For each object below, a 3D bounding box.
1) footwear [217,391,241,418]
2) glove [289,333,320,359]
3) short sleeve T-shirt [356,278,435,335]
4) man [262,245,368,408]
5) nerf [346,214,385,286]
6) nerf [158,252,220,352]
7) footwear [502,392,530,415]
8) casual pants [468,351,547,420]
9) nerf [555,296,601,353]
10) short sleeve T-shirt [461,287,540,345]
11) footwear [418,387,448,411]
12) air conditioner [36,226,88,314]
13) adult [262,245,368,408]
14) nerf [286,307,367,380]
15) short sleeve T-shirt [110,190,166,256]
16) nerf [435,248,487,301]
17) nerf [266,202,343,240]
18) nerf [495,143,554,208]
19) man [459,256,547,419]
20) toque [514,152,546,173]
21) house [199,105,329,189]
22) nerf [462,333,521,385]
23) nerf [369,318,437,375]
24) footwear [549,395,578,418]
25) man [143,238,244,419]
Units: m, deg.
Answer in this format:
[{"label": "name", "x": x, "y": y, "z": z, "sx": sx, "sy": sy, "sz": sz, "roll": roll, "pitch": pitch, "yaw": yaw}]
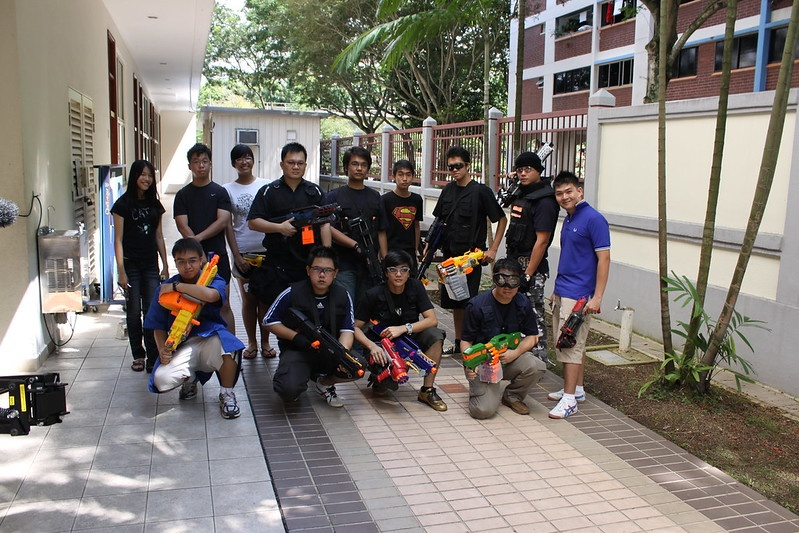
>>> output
[{"label": "footwear", "x": -1.569, "y": 1.286, "z": 4.784, "sx": 0.122, "sy": 0.144, "sz": 0.326, "roll": -2, "pitch": 0, "yaw": -21}, {"label": "glove", "x": -0.880, "y": 0.712, "z": 4.898, "sx": 0.281, "sy": 0.201, "sz": 0.121, "roll": 27, "pitch": 29, "yaw": 9}, {"label": "short sleeve T-shirt", "x": -0.051, "y": 0.392, "z": 5.280, "sx": 0.955, "sy": 0.646, "sz": 0.510, "roll": 0, "pitch": 5, "yaw": -10}, {"label": "man", "x": -0.762, "y": 0.589, "z": 4.906, "sx": 1.096, "sy": 1.437, "sz": 0.954, "roll": 7, "pitch": 8, "yaw": 21}, {"label": "nerf", "x": -0.397, "y": -0.270, "z": 5.870, "sx": 0.472, "sy": 1.067, "sz": 0.246, "roll": -7, "pitch": -11, "yaw": -9}, {"label": "nerf", "x": -1.936, "y": 0.313, "z": 4.756, "sx": 0.400, "sy": 0.864, "sz": 0.334, "roll": 33, "pitch": -26, "yaw": -7}, {"label": "footwear", "x": 1.149, "y": 1.339, "z": 5.183, "sx": 0.114, "sy": 0.116, "sz": 0.304, "roll": -20, "pitch": 22, "yaw": -31}, {"label": "casual pants", "x": 1.071, "y": 1.154, "z": 5.125, "sx": 0.742, "sy": 0.487, "sz": 0.579, "roll": 0, "pitch": -1, "yaw": 14}, {"label": "nerf", "x": 1.684, "y": 0.557, "z": 4.983, "sx": 0.320, "sy": 0.511, "sz": 0.174, "roll": -5, "pitch": 15, "yaw": -29}, {"label": "short sleeve T-shirt", "x": 0.969, "y": 0.500, "z": 5.053, "sx": 0.885, "sy": 0.594, "sz": 0.467, "roll": -1, "pitch": 1, "yaw": -9}, {"label": "footwear", "x": 0.310, "y": 1.306, "z": 5.191, "sx": 0.129, "sy": 0.146, "sz": 0.358, "roll": -4, "pitch": 8, "yaw": -35}, {"label": "air conditioner", "x": -3.740, "y": 0.053, "z": 5.961, "sx": 0.733, "sy": 0.949, "sz": 0.712, "roll": -2, "pitch": 2, "yaw": -40}, {"label": "adult", "x": -0.788, "y": 0.584, "z": 4.922, "sx": 1.072, "sy": 1.452, "sz": 0.924, "roll": 7, "pitch": 8, "yaw": 18}, {"label": "nerf", "x": -0.734, "y": 0.728, "z": 4.879, "sx": 0.877, "sy": 0.303, "sz": 0.208, "roll": 39, "pitch": 24, "yaw": 14}, {"label": "short sleeve T-shirt", "x": -3.045, "y": -0.446, "z": 5.768, "sx": 0.349, "sy": 0.857, "sz": 0.720, "roll": -8, "pitch": 10, "yaw": -22}, {"label": "nerf", "x": 0.810, "y": 0.079, "z": 6.030, "sx": 0.639, "sy": 0.513, "sz": 0.176, "roll": -26, "pitch": 11, "yaw": -12}, {"label": "nerf", "x": -0.953, "y": -0.451, "z": 5.386, "sx": 0.809, "sy": 0.365, "sz": 0.110, "roll": -8, "pitch": 4, "yaw": 25}, {"label": "nerf", "x": 1.516, "y": -0.981, "z": 6.562, "sx": 1.141, "sy": 0.492, "sz": 0.275, "roll": -1, "pitch": 22, "yaw": -45}, {"label": "man", "x": 0.921, "y": 0.700, "z": 5.067, "sx": 0.947, "sy": 1.484, "sz": 0.813, "roll": -3, "pitch": 4, "yaw": -17}, {"label": "toque", "x": 1.444, "y": -1.143, "z": 5.746, "sx": 0.208, "sy": 0.175, "sz": 0.262, "roll": 3, "pitch": -1, "yaw": 37}, {"label": "house", "x": -4.470, "y": -3.693, "z": 15.570, "sx": 3.952, "sy": 1.844, "sz": 4.106, "roll": 6, "pitch": 16, "yaw": 25}, {"label": "nerf", "x": 0.912, "y": 0.853, "z": 4.920, "sx": 0.665, "sy": 0.405, "sz": 0.200, "roll": -19, "pitch": 18, "yaw": -27}, {"label": "nerf", "x": 0.028, "y": 0.794, "z": 5.136, "sx": 0.678, "sy": 0.287, "sz": 0.137, "roll": 39, "pitch": -10, "yaw": 27}, {"label": "footwear", "x": 1.604, "y": 1.360, "z": 5.015, "sx": 0.399, "sy": 0.163, "sz": 0.134, "roll": -5, "pitch": 9, "yaw": -40}, {"label": "man", "x": -1.913, "y": 0.545, "z": 4.886, "sx": 0.999, "sy": 1.501, "sz": 0.941, "roll": 2, "pitch": 9, "yaw": 18}]
